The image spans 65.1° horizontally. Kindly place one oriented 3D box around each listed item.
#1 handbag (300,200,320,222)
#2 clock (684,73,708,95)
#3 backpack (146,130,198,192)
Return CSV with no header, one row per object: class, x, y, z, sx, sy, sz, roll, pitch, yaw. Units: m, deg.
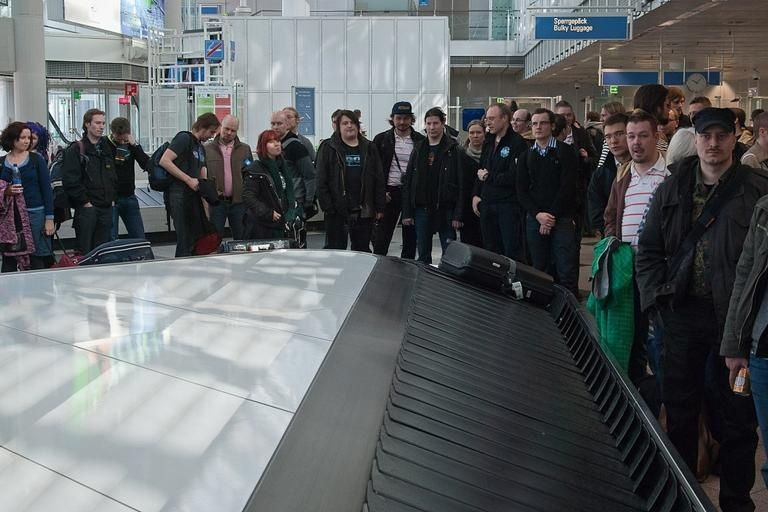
handbag,-0.990,-0.567,7.557,0.260,0.282,0.195,-2,13,31
clock,9.352,-5.182,18.281,0.573,0.647,0.142,1,0,-8
backpack,-2.551,-1.067,7.209,0.468,0.951,0.622,2,-13,-18
